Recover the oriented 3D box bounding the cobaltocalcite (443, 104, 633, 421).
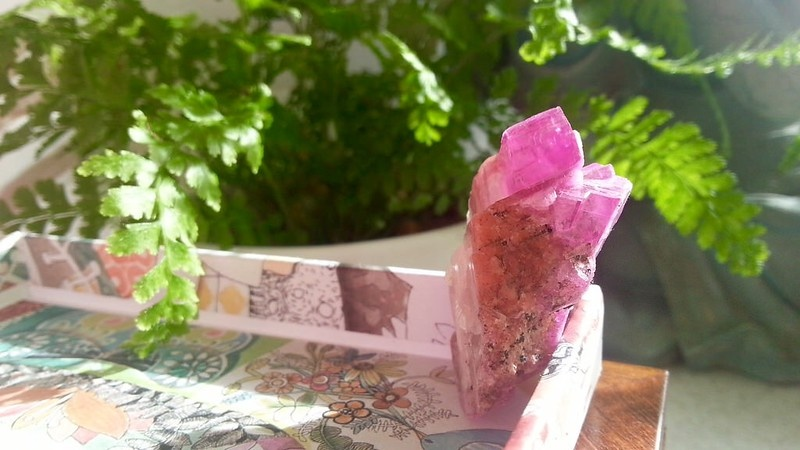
[{"bbox_3d":[0.155,0.044,1.122,0.275,0.440,0.117,22,13,-13],"label":"cobaltocalcite"}]
